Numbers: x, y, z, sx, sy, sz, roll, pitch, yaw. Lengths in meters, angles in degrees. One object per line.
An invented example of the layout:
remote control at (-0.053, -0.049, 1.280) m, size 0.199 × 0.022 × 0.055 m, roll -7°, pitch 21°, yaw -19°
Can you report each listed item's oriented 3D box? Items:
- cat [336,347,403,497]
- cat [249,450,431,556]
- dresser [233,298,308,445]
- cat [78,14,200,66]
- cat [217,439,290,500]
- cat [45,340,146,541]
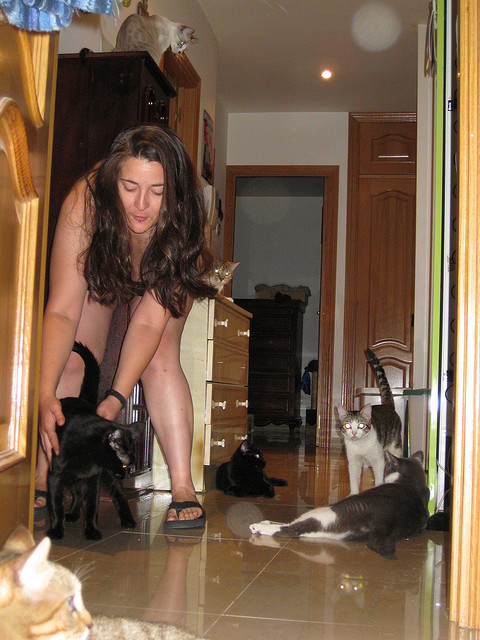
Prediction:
cat at (0.628, 0.497, 2.619) m, size 0.164 × 0.588 × 0.617 m, roll -2°, pitch 6°, yaw 31°
cat at (0.277, 0.399, 1.398) m, size 0.446 × 0.152 × 0.358 m, roll -2°, pitch 3°, yaw 7°
dresser at (0.115, 0.492, 5.832) m, size 1.310 × 1.382 × 1.355 m, roll 2°, pitch -2°, yaw -8°
cat at (-0.443, -1.181, 2.373) m, size 0.156 × 0.257 × 0.587 m, roll 23°, pitch 28°, yaw 33°
cat at (0.054, 0.577, 2.148) m, size 0.231 × 0.194 × 0.326 m, roll 12°, pitch -13°, yaw -8°
cat at (-0.333, 0.273, 1.320) m, size 0.202 × 0.456 × 0.354 m, roll 3°, pitch -5°, yaw -14°
